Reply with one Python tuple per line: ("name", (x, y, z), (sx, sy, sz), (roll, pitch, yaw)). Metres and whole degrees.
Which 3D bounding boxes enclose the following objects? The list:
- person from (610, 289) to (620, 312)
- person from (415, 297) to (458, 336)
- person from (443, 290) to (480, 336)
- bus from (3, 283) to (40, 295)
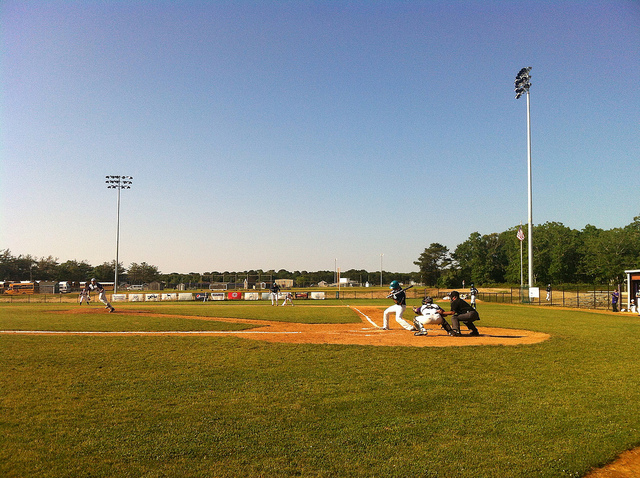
("person", (20.270, 4.197, 38.878), (0.346, 1.413, 1.947), (-1, -2, 28))
("person", (3.938, 2.693, 19.929), (1.454, 0.739, 2.152), (2, 13, -2))
("person", (4.890, 2.550, 19.629), (1.234, 1.573, 0.804), (1, -2, -26))
("bus", (-48.063, 7.921, 91.750), (5.293, 1.691, 2.849), (-1, -2, 7))
